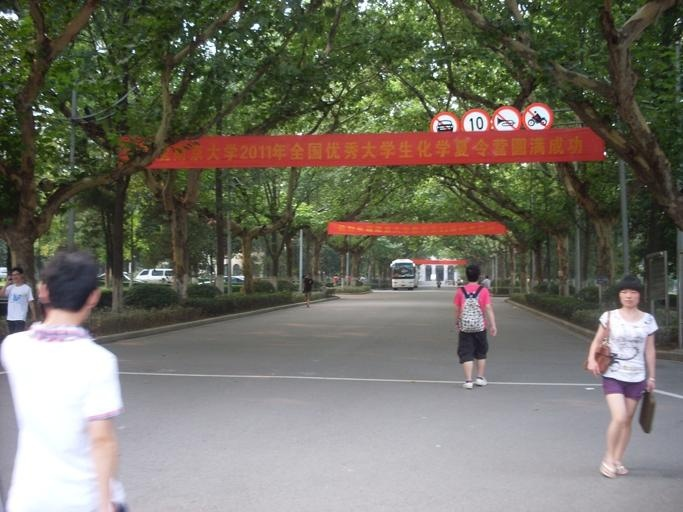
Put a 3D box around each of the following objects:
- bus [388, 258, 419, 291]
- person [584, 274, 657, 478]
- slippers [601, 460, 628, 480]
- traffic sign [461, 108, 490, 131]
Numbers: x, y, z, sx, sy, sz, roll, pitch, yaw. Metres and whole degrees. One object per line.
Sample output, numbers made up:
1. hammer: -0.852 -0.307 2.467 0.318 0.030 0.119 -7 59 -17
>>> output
1. bus: 6.565 1.900 85.848 2.190 3.240 3.103 -1 -2 15
2. person: 3.087 1.301 8.953 0.699 2.173 0.503 0 -2 -29
3. slippers: 2.987 2.314 8.880 0.331 0.150 0.263 -1 -2 0
4. traffic sign: 3.879 -3.941 23.529 0.845 0.699 0.675 -1 -2 9
